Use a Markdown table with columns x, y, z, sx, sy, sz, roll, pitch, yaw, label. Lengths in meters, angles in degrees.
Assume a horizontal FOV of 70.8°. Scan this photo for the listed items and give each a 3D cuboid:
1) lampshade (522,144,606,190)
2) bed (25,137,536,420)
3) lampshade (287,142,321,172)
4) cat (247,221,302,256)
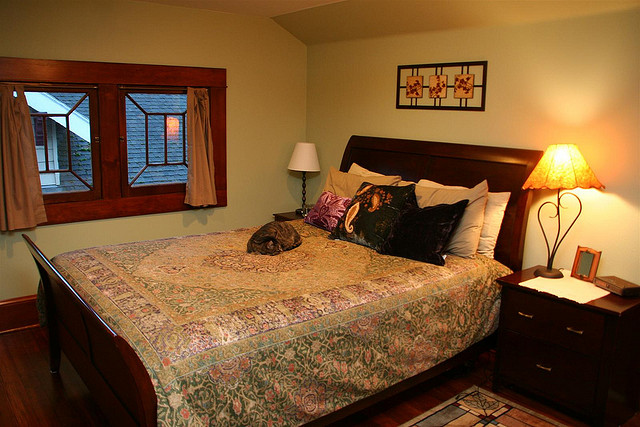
| x | y | z | sx | sy | sz | roll | pitch | yaw | label |
| --- | --- | --- | --- | --- | --- | --- | --- | --- | --- |
| 1.918 | -0.381 | 3.587 | 0.649 | 0.329 | 0.634 | -5 | 10 | -11 | lampshade |
| -0.059 | 0.456 | 3.498 | 3.194 | 1.542 | 2.403 | -10 | 20 | -32 | bed |
| -0.190 | -0.653 | 5.242 | 0.340 | 0.334 | 0.334 | 3 | 17 | 2 | lampshade |
| -0.375 | 0.174 | 3.687 | 0.361 | 0.127 | 0.253 | -17 | 26 | -41 | cat |
